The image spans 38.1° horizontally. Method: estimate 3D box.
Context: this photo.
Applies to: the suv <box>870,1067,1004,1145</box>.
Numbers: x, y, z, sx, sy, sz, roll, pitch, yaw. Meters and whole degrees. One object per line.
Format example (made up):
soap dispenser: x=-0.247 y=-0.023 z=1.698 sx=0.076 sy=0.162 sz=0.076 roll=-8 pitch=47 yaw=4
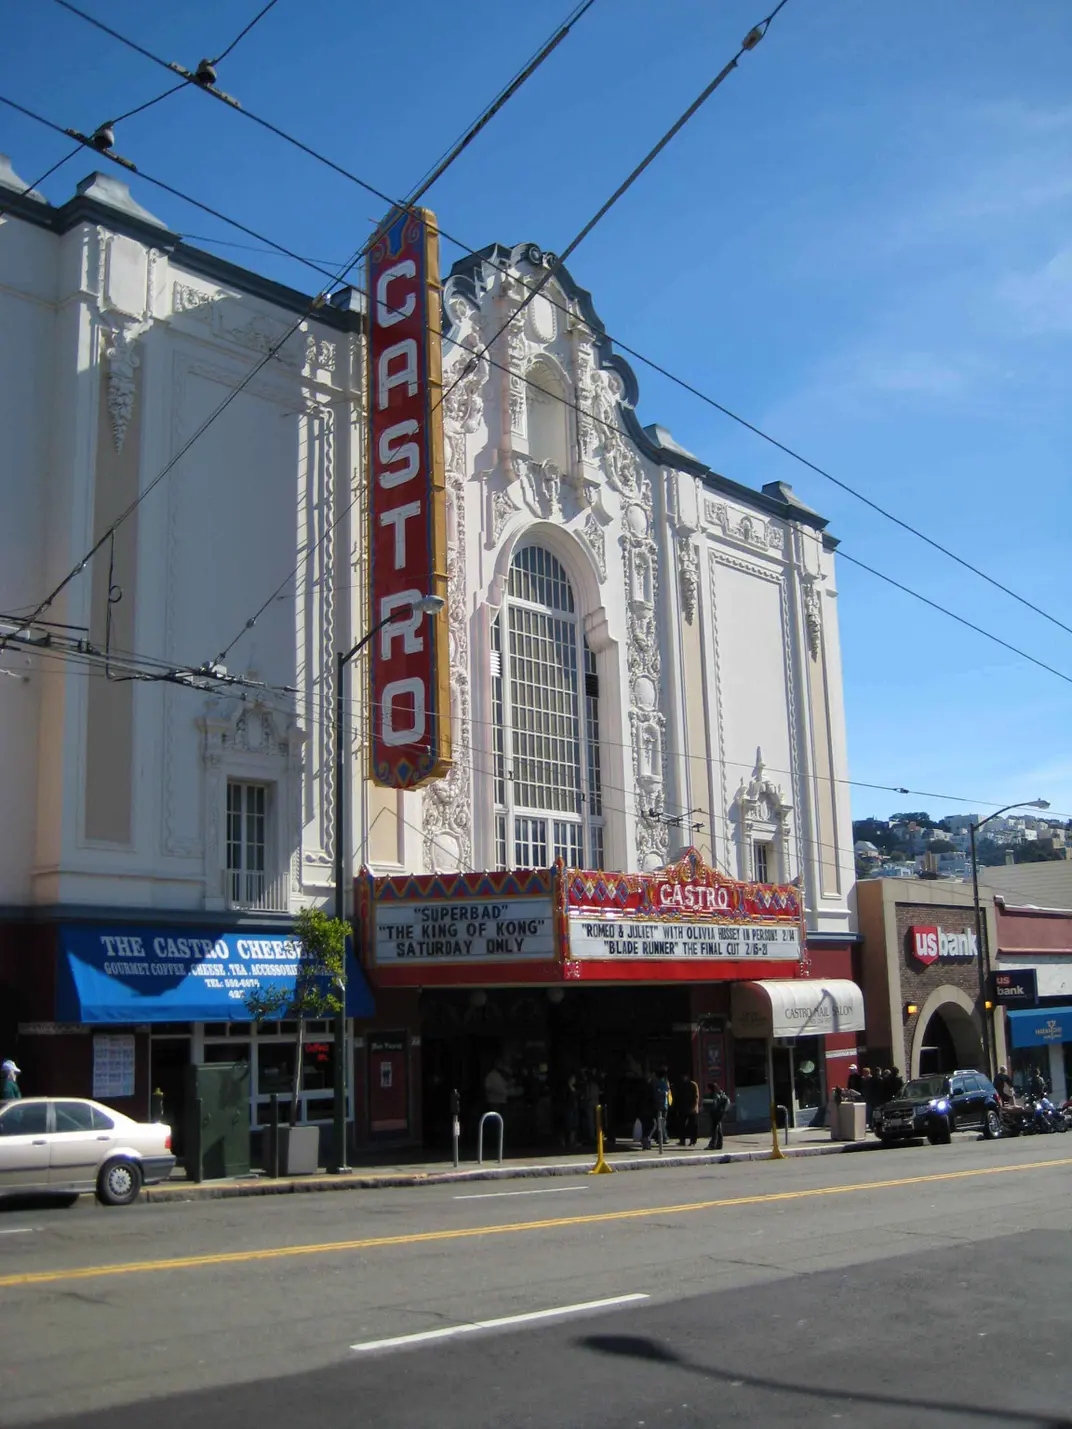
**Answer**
suv: x=8.543 y=8.478 z=33.381 sx=1.230 sy=1.367 sz=3.213 roll=-13 pitch=-15 yaw=40
